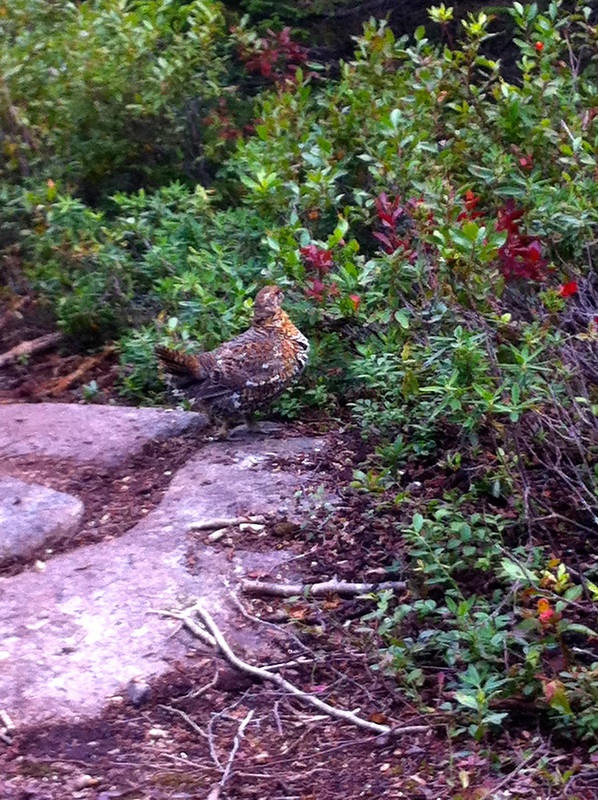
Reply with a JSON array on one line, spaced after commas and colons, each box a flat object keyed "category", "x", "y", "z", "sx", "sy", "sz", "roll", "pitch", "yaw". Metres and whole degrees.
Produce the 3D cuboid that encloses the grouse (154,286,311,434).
[{"category": "grouse", "x": -0.422, "y": -0.243, "z": 5.596, "sx": 1.005, "sy": 0.734, "sz": 0.568, "roll": -21, "pitch": 32, "yaw": -39}]
